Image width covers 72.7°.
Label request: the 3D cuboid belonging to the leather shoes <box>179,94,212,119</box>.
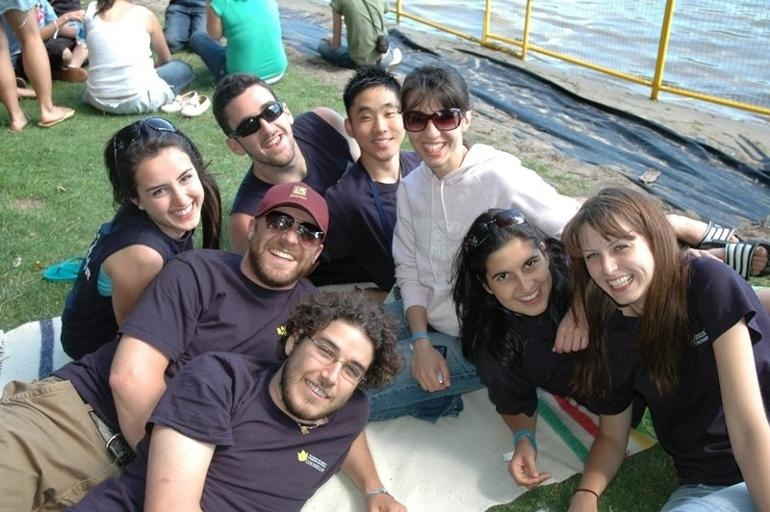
[{"bbox_3d":[-2.782,-2.225,7.714,0.260,0.189,0.518,26,53,7],"label":"leather shoes"}]

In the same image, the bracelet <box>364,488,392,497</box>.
[{"bbox_3d":[-0.062,1.694,3.802,0.115,0.047,0.097,-1,-10,-10],"label":"bracelet"}]

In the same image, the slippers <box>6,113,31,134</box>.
[{"bbox_3d":[-5.048,-1.782,7.146,0.164,0.149,0.410,-6,14,-12],"label":"slippers"}]

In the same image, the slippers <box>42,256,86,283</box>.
[{"bbox_3d":[-3.163,0.139,5.119,0.320,0.100,0.196,-9,36,-18],"label":"slippers"}]

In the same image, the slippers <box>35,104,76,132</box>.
[{"bbox_3d":[-4.630,-1.932,7.354,0.204,0.245,0.576,18,36,26],"label":"slippers"}]

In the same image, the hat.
[{"bbox_3d":[-0.763,-0.360,4.143,0.436,0.308,0.688,20,-19,-16],"label":"hat"}]

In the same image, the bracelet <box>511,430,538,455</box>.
[{"bbox_3d":[1.067,1.404,3.959,0.167,0.165,0.167,-12,56,18],"label":"bracelet"}]

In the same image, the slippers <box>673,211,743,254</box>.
[{"bbox_3d":[3.098,-0.211,4.987,0.486,0.193,0.289,27,49,9],"label":"slippers"}]
